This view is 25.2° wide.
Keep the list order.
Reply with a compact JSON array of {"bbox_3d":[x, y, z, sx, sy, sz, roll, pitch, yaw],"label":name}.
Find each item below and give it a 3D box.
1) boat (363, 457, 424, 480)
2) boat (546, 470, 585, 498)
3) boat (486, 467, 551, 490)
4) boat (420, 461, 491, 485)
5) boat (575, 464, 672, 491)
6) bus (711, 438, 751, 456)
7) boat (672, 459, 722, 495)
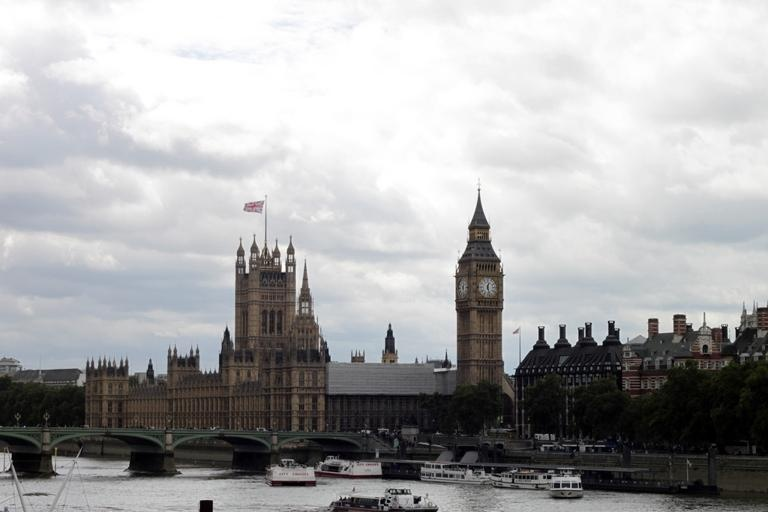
[{"bbox_3d":[2.185,33.954,269.689,6.618,4.116,19.278,3,-10,-14],"label":"boat"},{"bbox_3d":[24.346,31.494,231.322,4.210,3.290,5.556,0,-10,1],"label":"boat"},{"bbox_3d":[19.464,32.302,243.293,5.943,2.083,3.381,-3,-2,22],"label":"boat"},{"bbox_3d":[10.349,32.714,254.627,6.335,3.688,13.428,5,-10,-25],"label":"boat"},{"bbox_3d":[32.584,31.053,235.512,4.321,3.828,15.793,9,-12,-39],"label":"boat"},{"bbox_3d":[47.882,26.833,236.074,5.043,2.337,10.174,-1,-10,12],"label":"bus"},{"bbox_3d":[41.043,29.876,228.393,3.104,4.862,5.872,9,-13,-41],"label":"boat"}]
